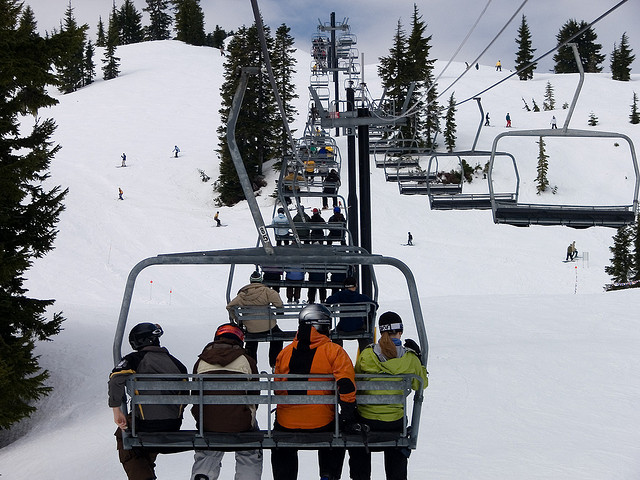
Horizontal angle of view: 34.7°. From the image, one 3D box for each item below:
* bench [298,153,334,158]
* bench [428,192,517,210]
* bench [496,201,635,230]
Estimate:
[{"bbox_3d":[-0.143,-3.376,40.491,1.444,0.181,0.695,-2,8,-19],"label":"bench"},{"bbox_3d":[5.483,-1.405,36.970,3.429,1.012,3.036,3,3,8],"label":"bench"},{"bbox_3d":[7.601,-0.765,31.894,4.167,0.704,1.147,2,8,7],"label":"bench"}]
